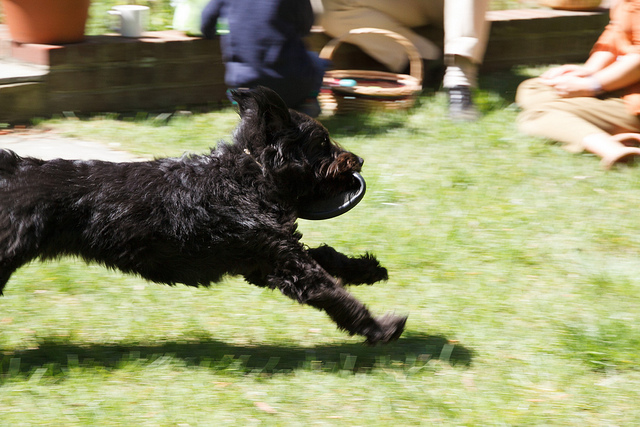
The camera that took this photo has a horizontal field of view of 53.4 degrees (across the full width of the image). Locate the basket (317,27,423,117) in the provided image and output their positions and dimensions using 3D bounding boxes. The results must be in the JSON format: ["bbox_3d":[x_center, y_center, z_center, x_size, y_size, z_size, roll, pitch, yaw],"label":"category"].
[{"bbox_3d":[0.514,-1.493,6.965,1.921,0.742,0.999,2,10,0],"label":"basket"}]
